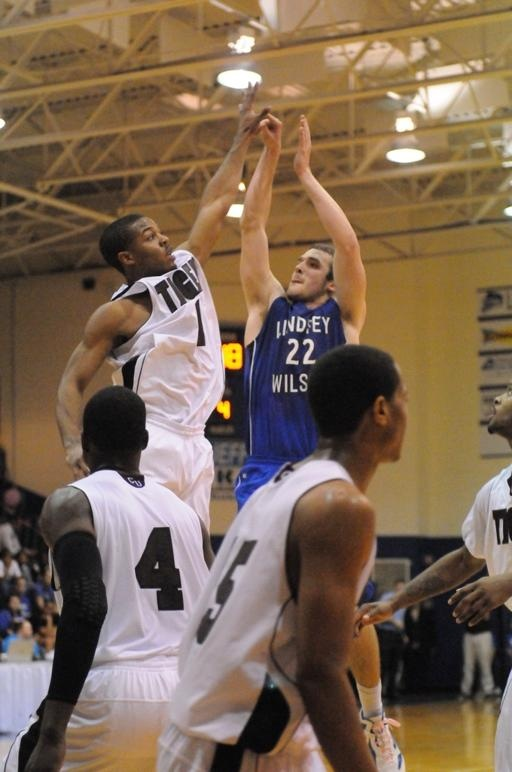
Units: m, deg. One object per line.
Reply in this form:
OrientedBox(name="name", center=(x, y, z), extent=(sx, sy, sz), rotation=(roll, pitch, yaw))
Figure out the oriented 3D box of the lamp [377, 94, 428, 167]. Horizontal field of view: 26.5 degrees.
OrientedBox(name="lamp", center=(1.572, -2.762, 11.552), extent=(0.458, 0.602, 0.432), rotation=(-10, 19, -11))
